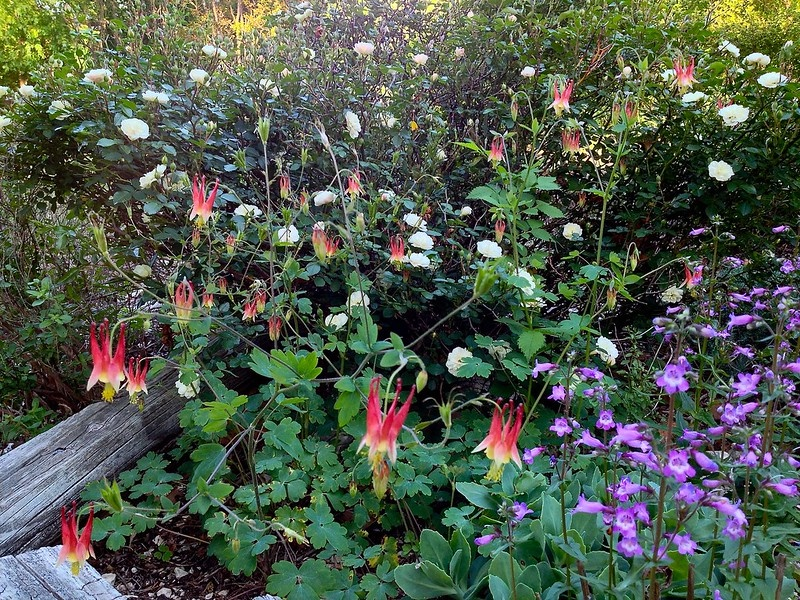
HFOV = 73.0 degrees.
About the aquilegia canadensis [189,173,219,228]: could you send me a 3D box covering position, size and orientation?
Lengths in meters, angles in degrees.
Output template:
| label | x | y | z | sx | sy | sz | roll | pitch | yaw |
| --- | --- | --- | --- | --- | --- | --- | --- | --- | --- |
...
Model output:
| label | x | y | z | sx | sy | sz | roll | pitch | yaw |
| --- | --- | --- | --- | --- | --- | --- | --- | --- | --- |
| aquilegia canadensis | -0.969 | -0.459 | 2.664 | 0.111 | 0.321 | 0.364 | 5 | 34 | -20 |
